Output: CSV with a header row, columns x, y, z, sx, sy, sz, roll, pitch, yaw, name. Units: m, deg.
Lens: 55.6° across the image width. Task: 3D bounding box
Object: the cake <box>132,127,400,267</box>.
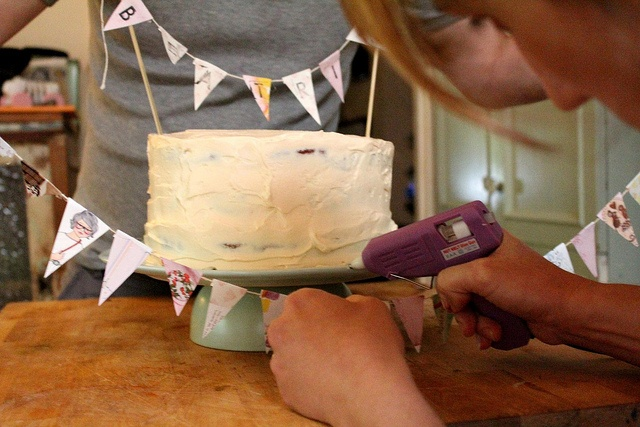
x,y,z,sx,sy,sz,roll,pitch,yaw,name
-0.123,-0.024,1.380,0.407,0.382,0.170,0,91,14,cake
